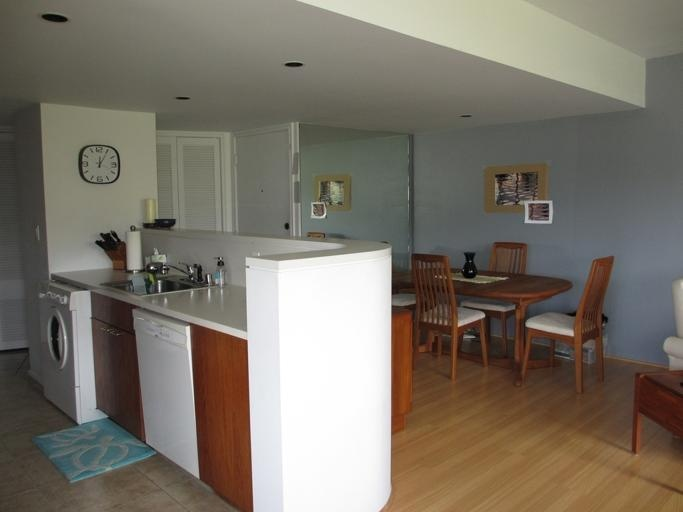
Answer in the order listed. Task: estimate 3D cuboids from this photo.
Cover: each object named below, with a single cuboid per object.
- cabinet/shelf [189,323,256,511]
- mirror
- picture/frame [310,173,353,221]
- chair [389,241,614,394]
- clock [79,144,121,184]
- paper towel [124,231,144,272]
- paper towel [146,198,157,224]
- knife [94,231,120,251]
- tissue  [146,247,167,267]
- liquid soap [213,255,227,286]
[{"bbox_3d":[-0.677,0.896,2.809,0.148,0.959,0.538,-11,15,-41],"label":"cabinet/shelf"},{"bbox_3d":[0.108,-0.723,5.410,1.795,1.911,0.099,-2,3,-38],"label":"mirror"},{"bbox_3d":[-0.149,-0.716,5.921,0.598,0.587,0.043,-1,2,-35],"label":"picture/frame"},{"bbox_3d":[1.874,0.535,4.692,1.131,1.168,0.919,7,14,36],"label":"chair"},{"bbox_3d":[-2.288,-0.864,4.648,0.059,0.392,0.394,2,3,44],"label":"clock"},{"bbox_3d":[-1.933,-0.056,4.622,0.124,0.318,0.125,0,-3,39],"label":"paper towel"},{"bbox_3d":[-1.853,-0.443,4.820,0.117,0.215,0.259,-5,12,-20],"label":"paper towel"},{"bbox_3d":[-2.166,-0.136,4.614,0.199,0.189,0.065,-11,8,-4],"label":"knife"},{"bbox_3d":[-1.645,0.005,4.407,0.178,0.131,0.696,-5,11,-22],"label":"tissue "},{"bbox_3d":[-0.954,0.118,3.876,0.094,0.206,0.150,-4,11,-14],"label":"liquid soap"}]
